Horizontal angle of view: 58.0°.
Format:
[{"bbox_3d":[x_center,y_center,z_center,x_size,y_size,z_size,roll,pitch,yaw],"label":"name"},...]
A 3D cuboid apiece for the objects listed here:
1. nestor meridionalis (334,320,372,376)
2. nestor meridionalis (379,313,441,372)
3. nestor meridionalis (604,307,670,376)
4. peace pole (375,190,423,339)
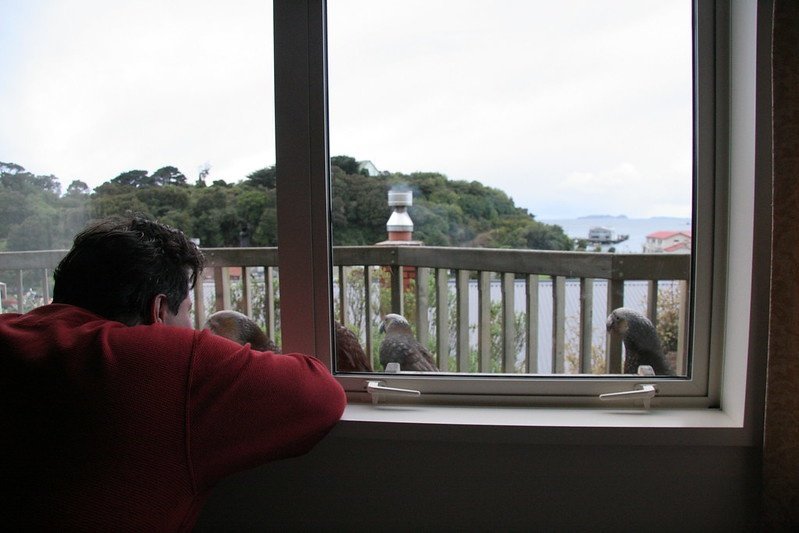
[{"bbox_3d":[-0.166,0.276,2.416,0.116,0.155,0.135,2,6,-8],"label":"nestor meridionalis"},{"bbox_3d":[0.026,0.250,2.392,0.181,0.171,0.166,1,7,6],"label":"nestor meridionalis"},{"bbox_3d":[0.769,0.240,2.302,0.260,0.303,0.112,3,6,15],"label":"nestor meridionalis"},{"bbox_3d":[-0.002,-0.041,2.400,0.105,0.556,0.098,-5,7,-38],"label":"peace pole"}]
